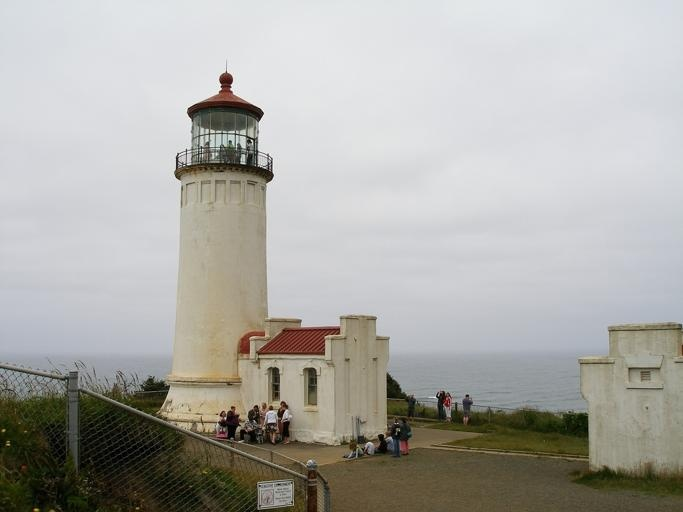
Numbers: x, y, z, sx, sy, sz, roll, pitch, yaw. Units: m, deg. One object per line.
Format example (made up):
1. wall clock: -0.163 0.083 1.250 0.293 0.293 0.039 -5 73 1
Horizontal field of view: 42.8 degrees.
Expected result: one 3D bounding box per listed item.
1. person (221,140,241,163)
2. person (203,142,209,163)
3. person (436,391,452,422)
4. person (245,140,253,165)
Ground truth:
1. person: -5.306 -4.838 40.757 1.037 1.112 1.042 1 -5 -6
2. person: -6.338 -4.840 40.363 0.393 1.003 0.163 -6 -10 34
3. person: 4.969 7.196 41.974 0.678 1.387 1.665 -1 -8 6
4. person: -4.339 -4.908 40.926 0.245 1.223 0.611 -5 -9 27
